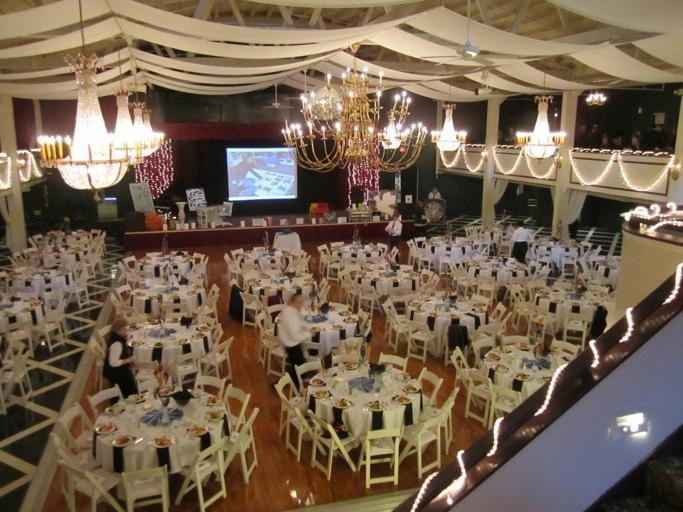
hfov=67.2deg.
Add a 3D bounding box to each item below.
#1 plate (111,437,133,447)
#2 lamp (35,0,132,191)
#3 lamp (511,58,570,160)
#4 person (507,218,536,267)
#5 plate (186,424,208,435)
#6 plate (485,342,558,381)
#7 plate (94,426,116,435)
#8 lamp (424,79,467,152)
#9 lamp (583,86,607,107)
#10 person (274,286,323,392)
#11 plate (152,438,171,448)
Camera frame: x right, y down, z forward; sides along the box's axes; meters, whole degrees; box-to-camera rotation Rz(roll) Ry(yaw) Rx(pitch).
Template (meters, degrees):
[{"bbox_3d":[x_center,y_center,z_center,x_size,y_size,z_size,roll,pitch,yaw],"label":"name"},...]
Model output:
[{"bbox_3d":[-2.612,2.202,6.135,0.218,0.044,0.177,-6,13,-19],"label":"plate"},{"bbox_3d":[-3.266,-2.034,6.359,0.980,2.526,1.846,-8,14,-28],"label":"lamp"},{"bbox_3d":[4.695,-3.351,11.979,1.068,2.071,1.091,-4,12,-14],"label":"lamp"},{"bbox_3d":[5.377,-0.375,15.463,0.535,1.532,0.462,-3,33,5],"label":"person"},{"bbox_3d":[-1.793,2.149,6.373,0.265,0.053,0.210,-2,12,1],"label":"plate"},{"bbox_3d":[2.768,1.618,7.996,1.094,0.361,0.981,1,13,14],"label":"plate"},{"bbox_3d":[-2.914,2.126,6.334,0.215,0.060,0.145,-6,13,-17],"label":"plate"},{"bbox_3d":[2.683,-3.220,12.881,0.830,1.169,0.866,3,11,17],"label":"lamp"},{"bbox_3d":[9.376,-5.865,18.808,0.712,0.606,4.507,4,14,26],"label":"lamp"},{"bbox_3d":[-0.688,1.363,8.295,0.601,1.713,0.605,-10,30,-15],"label":"person"},{"bbox_3d":[-2.140,2.216,6.137,0.226,0.048,0.172,-1,12,3],"label":"plate"}]
